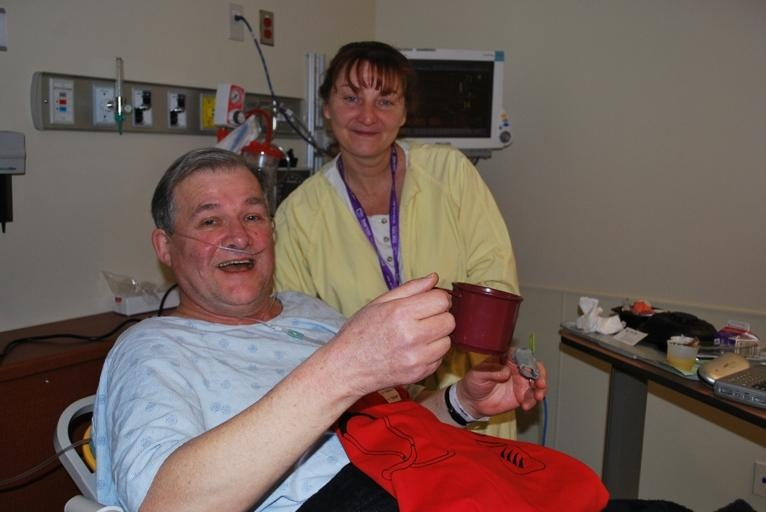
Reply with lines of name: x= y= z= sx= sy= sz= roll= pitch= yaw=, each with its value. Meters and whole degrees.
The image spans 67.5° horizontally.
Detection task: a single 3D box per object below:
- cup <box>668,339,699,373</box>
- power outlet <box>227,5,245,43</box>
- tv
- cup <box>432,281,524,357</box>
cup: x=1.222 y=0.393 z=2.314 sx=0.101 sy=0.114 sz=0.104 roll=-4 pitch=16 yaw=1
power outlet: x=-0.822 y=-1.291 z=3.178 sx=0.030 sy=0.198 sz=0.104 roll=8 pitch=15 yaw=32
tv: x=0.451 y=-1.019 z=3.583 sx=0.773 sy=0.689 sz=0.419 roll=7 pitch=43 yaw=14
cup: x=0.291 y=0.195 z=1.814 sx=0.270 sy=0.195 sz=0.170 roll=13 pitch=7 yaw=39
